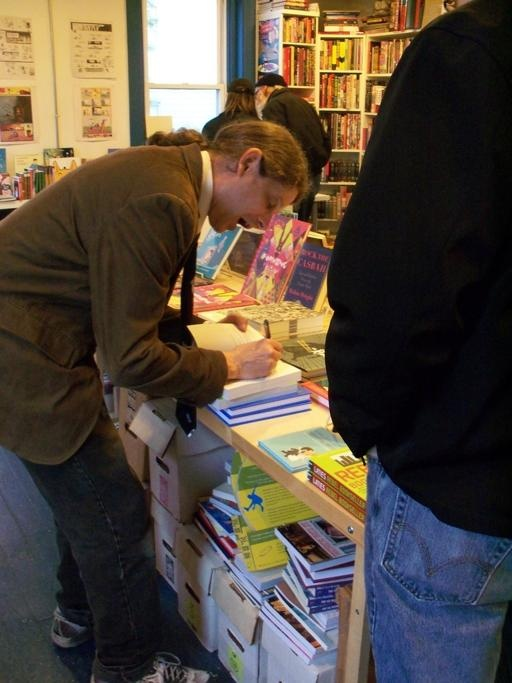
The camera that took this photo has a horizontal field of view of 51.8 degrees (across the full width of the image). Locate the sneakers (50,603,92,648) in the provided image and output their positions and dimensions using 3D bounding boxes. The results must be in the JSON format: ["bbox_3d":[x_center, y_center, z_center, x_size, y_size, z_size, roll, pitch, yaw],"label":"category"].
[{"bbox_3d":[-0.646,0.984,1.887,0.170,0.112,0.091,-7,15,-39],"label":"sneakers"}]
